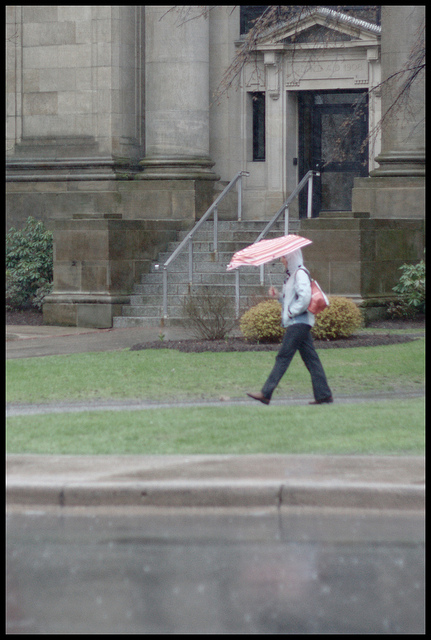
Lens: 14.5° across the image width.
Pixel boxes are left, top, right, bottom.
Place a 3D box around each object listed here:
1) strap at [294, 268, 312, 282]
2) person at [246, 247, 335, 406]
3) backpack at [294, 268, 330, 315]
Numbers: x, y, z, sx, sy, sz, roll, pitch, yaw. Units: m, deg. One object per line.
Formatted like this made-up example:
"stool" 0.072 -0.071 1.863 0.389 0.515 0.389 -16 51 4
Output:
"strap" 0.844 -0.435 16.267 0.105 0.143 0.115 -6 14 5
"person" 0.786 0.098 16.703 0.772 1.630 1.344 -1 7 3
"backpack" 0.944 -0.248 16.268 0.226 0.532 0.332 -7 -14 -9
